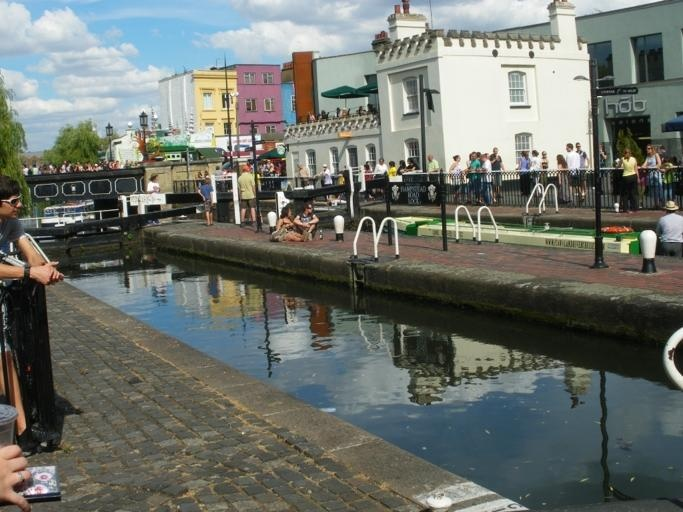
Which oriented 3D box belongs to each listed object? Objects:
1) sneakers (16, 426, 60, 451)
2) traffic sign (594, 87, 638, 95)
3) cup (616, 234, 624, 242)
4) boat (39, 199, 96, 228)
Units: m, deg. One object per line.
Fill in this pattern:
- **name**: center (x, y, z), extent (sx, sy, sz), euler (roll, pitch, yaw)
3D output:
- **sneakers**: center (-2.855, 1.731, 7.242), extent (0.431, 0.252, 0.131), euler (8, 0, -18)
- **traffic sign**: center (4.997, -3.034, 14.106), extent (0.457, 0.144, 1.105), euler (1, 12, 44)
- **cup**: center (5.966, -0.378, 16.684), extent (0.152, 0.108, 0.140), euler (-1, 6, 0)
- **boat**: center (-15.009, -2.810, 42.306), extent (2.897, 1.894, 5.835), euler (-2, 2, -17)
